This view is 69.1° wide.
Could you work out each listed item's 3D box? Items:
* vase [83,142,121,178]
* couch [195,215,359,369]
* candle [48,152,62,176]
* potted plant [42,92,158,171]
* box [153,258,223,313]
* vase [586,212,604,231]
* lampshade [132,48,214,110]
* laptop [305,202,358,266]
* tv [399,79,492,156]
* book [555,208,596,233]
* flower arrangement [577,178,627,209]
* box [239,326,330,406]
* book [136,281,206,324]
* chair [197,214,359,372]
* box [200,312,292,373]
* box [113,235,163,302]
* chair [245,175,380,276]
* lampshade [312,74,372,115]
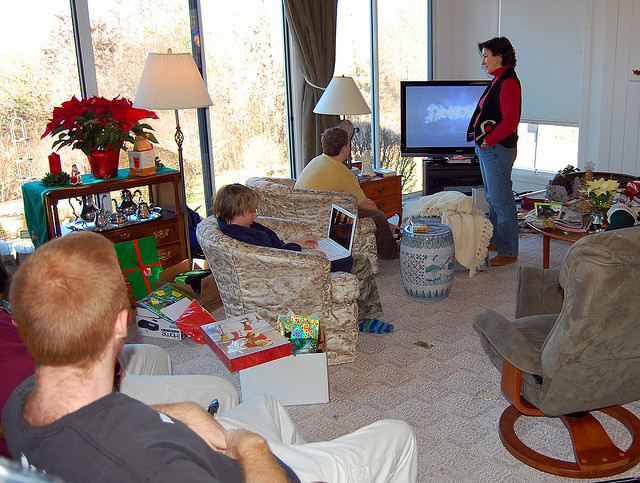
[{"bbox_3d":[-1.806,-0.705,3.925,0.317,0.280,0.322,-17,29,-39],"label":"vase"},{"bbox_3d":[-0.300,0.224,3.274,0.899,0.931,1.018,-5,18,-11],"label":"couch"},{"bbox_3d":[-2.101,-0.622,3.709,0.084,0.171,0.204,-11,17,-27],"label":"candle"},{"bbox_3d":[-1.765,-0.826,3.918,0.715,0.553,0.813,3,1,-18],"label":"potted plant"},{"bbox_3d":[-1.071,0.272,3.874,0.462,0.305,0.477,20,35,37],"label":"box"},{"bbox_3d":[2.138,-0.156,3.627,0.130,0.135,0.103,-3,16,-3],"label":"vase"},{"bbox_3d":[-1.198,-1.350,3.813,0.662,0.459,0.631,5,23,10],"label":"lampshade"},{"bbox_3d":[0.138,-0.053,3.494,0.359,0.400,0.517,2,11,-34],"label":"laptop"},{"bbox_3d":[1.501,-1.492,5.520,1.143,0.863,0.087,-1,6,-1],"label":"tv"},{"bbox_3d":[2.014,-0.159,3.685,0.197,0.066,0.207,13,55,32],"label":"book"},{"bbox_3d":[2.149,-0.375,3.607,0.231,0.214,0.142,10,20,41],"label":"flower arrangement"},{"bbox_3d":[-0.199,0.735,2.656,0.355,0.232,0.351,-6,6,-9],"label":"box"},{"bbox_3d":[-1.147,0.458,3.529,0.310,0.051,0.350,29,36,23],"label":"book"},{"bbox_3d":[-0.252,0.403,3.119,0.951,0.969,1.043,-7,14,-16],"label":"chair"},{"bbox_3d":[-0.396,0.528,2.491,0.402,0.164,0.339,-10,16,-23],"label":"box"},{"bbox_3d":[-1.305,0.192,3.372,0.344,0.488,0.167,-23,8,-37],"label":"box"},{"bbox_3d":[-0.084,-0.320,4.069,0.880,0.915,0.977,-11,18,-23],"label":"chair"},{"bbox_3d":[0.206,-1.486,4.829,0.425,0.498,0.468,2,20,10],"label":"lampshade"}]
